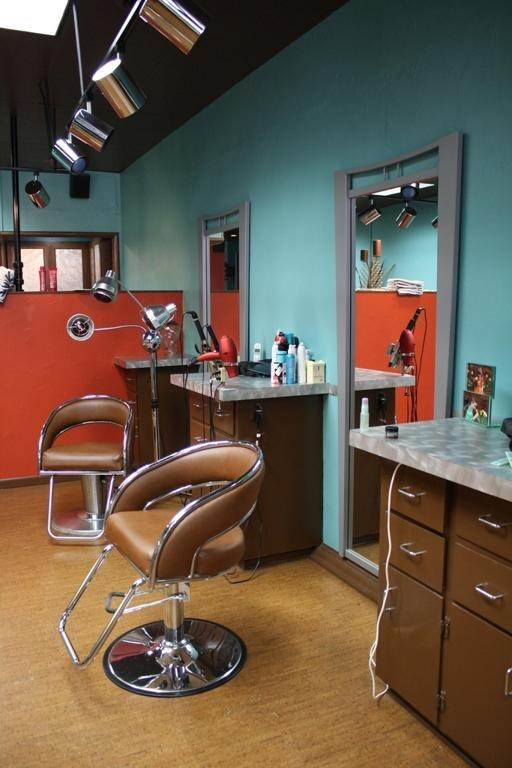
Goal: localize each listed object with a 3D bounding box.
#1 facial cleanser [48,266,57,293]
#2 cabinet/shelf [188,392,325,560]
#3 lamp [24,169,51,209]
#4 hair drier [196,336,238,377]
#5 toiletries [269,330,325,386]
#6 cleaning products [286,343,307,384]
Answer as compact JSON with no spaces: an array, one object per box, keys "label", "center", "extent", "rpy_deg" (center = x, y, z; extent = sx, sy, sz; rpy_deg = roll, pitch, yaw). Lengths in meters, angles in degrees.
[{"label":"facial cleanser","center":[-1.734,-0.888,4.959],"extent":[0.049,0.196,0.217],"rpy_deg":[-1,5,-12]},{"label":"cabinet/shelf","center":[-0.115,0.446,3.329],"extent":[0.610,1.210,1.201],"rpy_deg":[0,2,-16]},{"label":"lamp","center":[-1.654,-1.480,4.408],"extent":[0.144,0.263,0.434],"rpy_deg":[-2,5,-17]},{"label":"hair drier","center":[-0.216,-0.141,3.077],"extent":[0.184,0.209,0.304],"rpy_deg":[-2,5,-17]},{"label":"toiletries","center":[0.227,-0.124,2.862],"extent":[0.263,0.318,0.226],"rpy_deg":[1,3,19]},{"label":"cleaning products","center":[0.202,-0.099,2.877],"extent":[0.102,0.195,0.205],"rpy_deg":[1,5,10]}]
